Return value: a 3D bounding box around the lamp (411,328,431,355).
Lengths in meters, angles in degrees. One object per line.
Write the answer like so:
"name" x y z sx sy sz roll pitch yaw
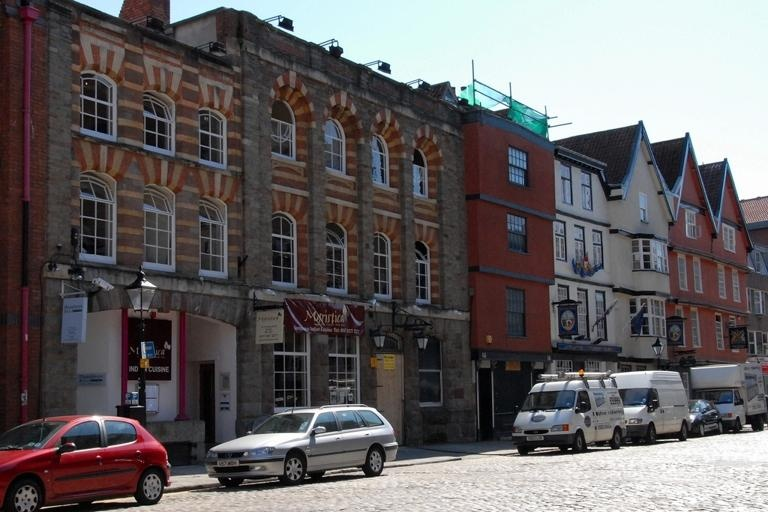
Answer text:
"lamp" 1.515 3.453 37.693 0.638 0.997 2.012 -2 -15 2

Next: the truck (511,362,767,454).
"truck" 8.593 6.174 36.439 3.215 2.802 8.932 -11 -17 40

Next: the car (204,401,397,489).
"car" -2.287 5.427 25.897 2.238 1.785 4.928 -12 -15 43

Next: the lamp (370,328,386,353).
"lamp" -0.264 3.280 36.027 0.577 0.900 1.033 -2 -15 -1

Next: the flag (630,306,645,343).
"flag" 14.658 4.008 51.887 0.231 1.978 0.836 9 -40 41
